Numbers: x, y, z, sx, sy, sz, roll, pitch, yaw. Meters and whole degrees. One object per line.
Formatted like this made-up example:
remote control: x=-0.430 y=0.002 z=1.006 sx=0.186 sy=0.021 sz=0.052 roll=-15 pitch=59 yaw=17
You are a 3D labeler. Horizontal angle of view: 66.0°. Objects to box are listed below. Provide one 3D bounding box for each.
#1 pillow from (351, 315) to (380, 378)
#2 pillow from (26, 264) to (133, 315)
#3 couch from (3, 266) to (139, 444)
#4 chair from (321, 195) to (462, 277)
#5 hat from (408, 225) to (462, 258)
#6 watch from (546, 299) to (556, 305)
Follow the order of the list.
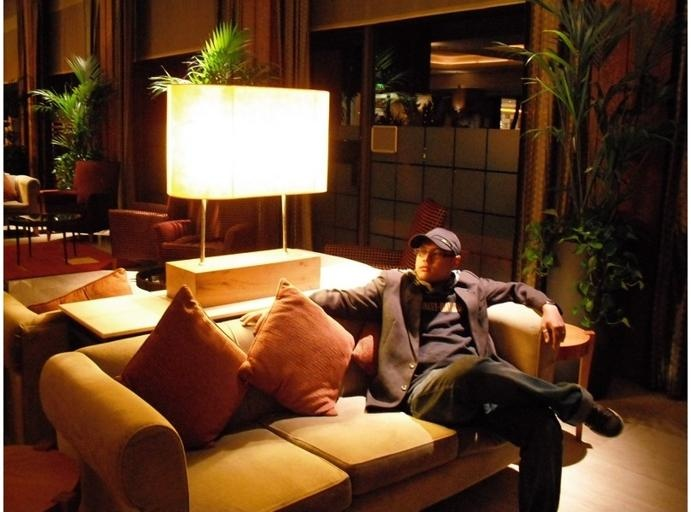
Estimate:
pillow: x=0.114 y=0.465 z=2.743 sx=0.090 sy=0.201 sz=0.202 roll=-9 pitch=36 yaw=52
pillow: x=-1.372 y=0.204 z=2.782 sx=0.369 sy=0.152 sz=0.282 roll=-28 pitch=16 yaw=-9
couch: x=-1.471 y=0.472 z=2.932 sx=0.730 sy=0.786 sz=0.702 roll=-1 pitch=1 yaw=-38
chair: x=0.348 y=-0.161 z=4.639 sx=0.725 sy=0.921 sz=0.633 roll=3 pitch=5 yaw=0
hat: x=0.500 y=-0.068 z=2.812 sx=0.221 sy=0.130 sz=0.162 roll=37 pitch=-15 yaw=-33
watch: x=1.075 y=0.240 z=2.815 sx=0.028 sy=0.019 sz=0.051 roll=1 pitch=8 yaw=-1
